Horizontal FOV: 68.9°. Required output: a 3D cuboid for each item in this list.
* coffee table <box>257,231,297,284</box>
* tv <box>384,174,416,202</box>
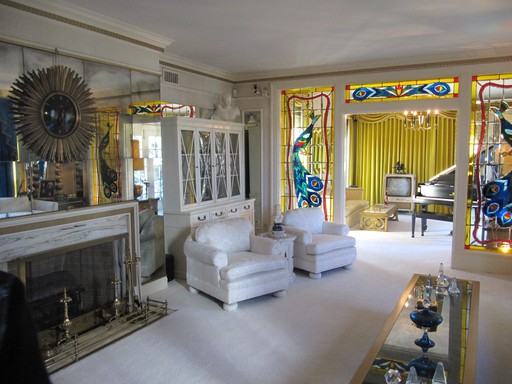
[{"bbox_3d":[0.306,0.834,5.380,0.567,0.734,0.718,0,5,8],"label":"coffee table"},{"bbox_3d":[3.645,-0.118,9.444,0.660,0.689,0.368,2,3,32],"label":"tv"}]
